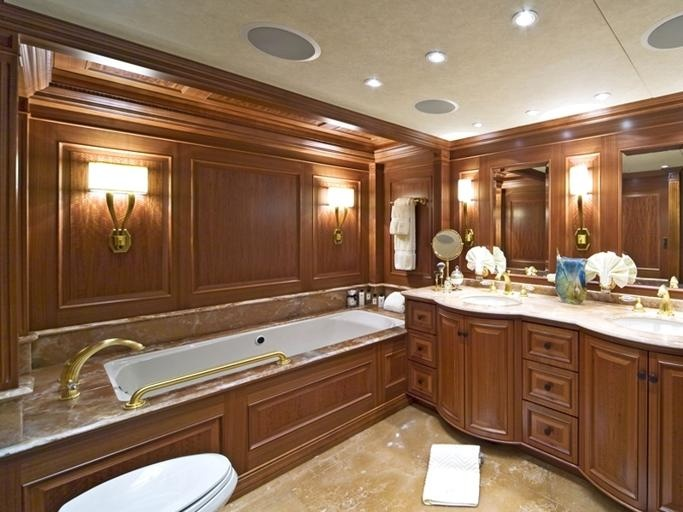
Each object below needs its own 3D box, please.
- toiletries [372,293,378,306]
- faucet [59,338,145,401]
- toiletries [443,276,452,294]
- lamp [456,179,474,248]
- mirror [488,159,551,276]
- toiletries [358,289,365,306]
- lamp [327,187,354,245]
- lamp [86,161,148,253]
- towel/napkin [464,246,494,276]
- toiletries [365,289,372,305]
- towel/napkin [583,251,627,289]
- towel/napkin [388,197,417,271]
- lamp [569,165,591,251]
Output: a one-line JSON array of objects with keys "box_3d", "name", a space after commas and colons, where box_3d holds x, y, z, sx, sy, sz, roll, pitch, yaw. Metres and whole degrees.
[{"box_3d": [0.375, 0.475, 5.144, 0.059, 0.124, 0.104, -5, 5, -31], "name": "toiletries"}, {"box_3d": [-1.657, 0.788, 3.186, 0.443, 0.360, 0.150, 7, 0, -31], "name": "faucet"}, {"box_3d": [0.990, 0.266, 4.346, 0.086, 0.119, 0.252, -1, 4, 12], "name": "toiletries"}, {"box_3d": [1.208, -0.408, 4.531, 0.163, 0.655, 0.079, 0, 5, 26], "name": "lamp"}, {"box_3d": [1.632, -0.256, 4.226, 0.376, 0.833, 0.055, -3, 26, 17], "name": "mirror"}, {"box_3d": [0.212, 0.459, 5.112, 0.051, 0.163, 0.104, 0, 5, 26], "name": "toiletries"}, {"box_3d": [0.033, -0.420, 4.942, 0.181, 0.605, 0.384, 1, 6, 39], "name": "lamp"}, {"box_3d": [-1.684, -0.363, 3.556, 0.437, 0.692, 0.164, -5, 5, -26], "name": "lamp"}, {"box_3d": [1.287, 0.045, 4.347, 0.078, 0.243, 0.245, 0, -7, -33], "name": "towel/napkin"}, {"box_3d": [0.299, 0.460, 5.173, 0.088, 0.152, 0.064, -3, 5, -3], "name": "toiletries"}, {"box_3d": [2.055, 0.111, 3.602, 0.109, 0.283, 0.267, 6, -7, -35], "name": "towel/napkin"}, {"box_3d": [0.636, -0.217, 4.848, 0.267, 0.754, 0.196, -1, 5, 18], "name": "towel/napkin"}, {"box_3d": [1.972, -0.399, 3.840, 0.149, 0.717, 0.059, 2, 6, 40], "name": "lamp"}]
